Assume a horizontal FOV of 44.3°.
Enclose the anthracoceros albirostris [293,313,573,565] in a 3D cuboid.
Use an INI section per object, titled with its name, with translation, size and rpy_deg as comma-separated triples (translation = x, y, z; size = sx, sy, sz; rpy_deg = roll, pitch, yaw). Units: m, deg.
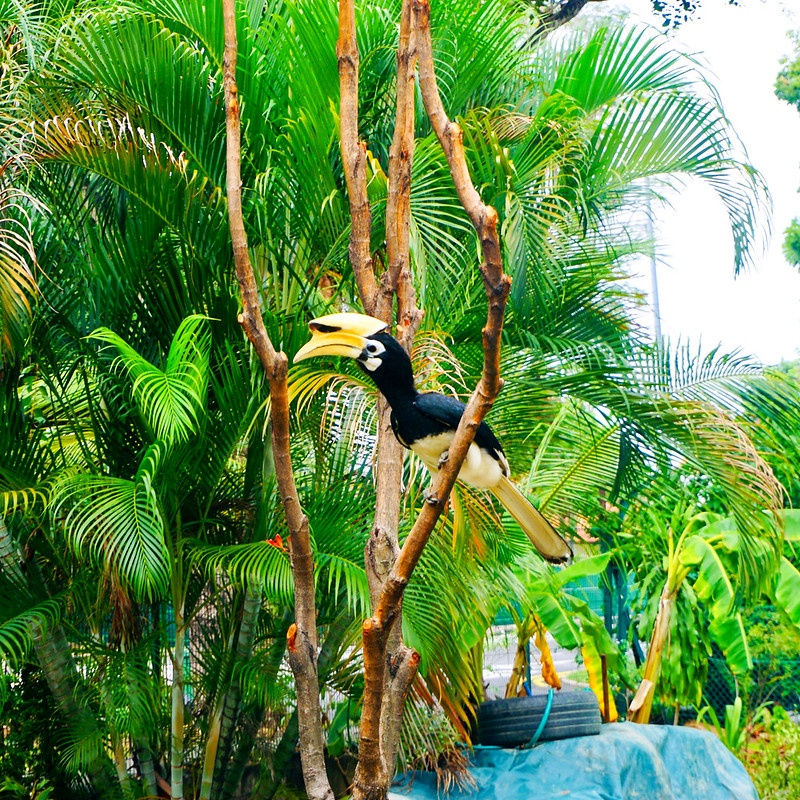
[anthracoceros albirostris]
translation = 0.109, 0.137, 3.630
size = 1.204, 0.816, 0.451
rpy_deg = 12, -15, -37
